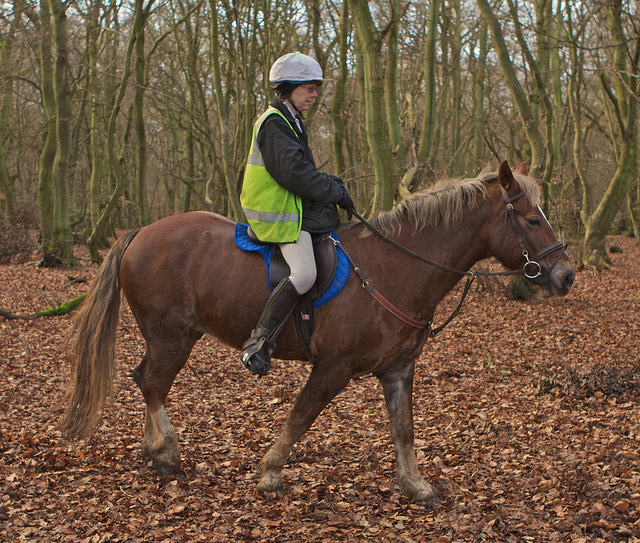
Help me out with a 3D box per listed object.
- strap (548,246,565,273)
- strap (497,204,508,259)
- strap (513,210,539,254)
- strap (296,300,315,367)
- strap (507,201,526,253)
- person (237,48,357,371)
[{"bbox_3d":[2.517,-0.119,8.913,0.040,0.045,0.322,9,58,49],"label":"strap"},{"bbox_3d":[1.981,-0.431,9.075,0.060,0.588,0.059,-2,14,7],"label":"strap"},{"bbox_3d":[2.216,-0.403,8.987,0.270,0.379,0.033,8,16,34],"label":"strap"},{"bbox_3d":[-0.150,0.651,9.137,0.193,0.666,0.061,-2,13,-2],"label":"strap"},{"bbox_3d":[2.150,-0.507,9.065,0.100,0.648,0.087,-16,-6,22],"label":"strap"},{"bbox_3d":[-0.325,-0.668,9.163,1.157,3.308,0.820,-4,13,-12],"label":"person"}]
